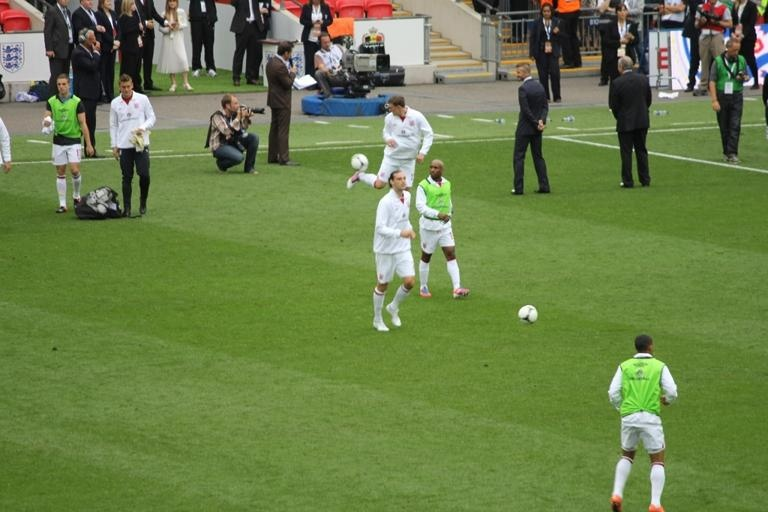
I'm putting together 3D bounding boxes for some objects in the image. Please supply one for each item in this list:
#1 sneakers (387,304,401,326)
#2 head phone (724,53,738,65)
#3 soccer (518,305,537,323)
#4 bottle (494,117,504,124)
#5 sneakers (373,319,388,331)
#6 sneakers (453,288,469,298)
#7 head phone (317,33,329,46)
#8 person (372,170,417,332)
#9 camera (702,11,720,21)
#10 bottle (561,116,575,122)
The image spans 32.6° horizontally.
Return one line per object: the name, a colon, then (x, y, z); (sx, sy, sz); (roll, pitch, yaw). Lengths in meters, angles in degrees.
sneakers: (0.144, 0.919, 20.385); (0.187, 0.411, 0.146); (-6, 21, 31)
head phone: (7.362, -4.173, 27.949); (0.161, 0.127, 0.210); (3, -29, 5)
soccer: (2.109, 0.854, 19.411); (0.269, 0.257, 0.262); (-6, 7, -41)
bottle: (2.939, -3.427, 33.668); (0.291, 0.109, 0.420); (0, 11, 3)
sneakers: (-0.082, 1.070, 20.220); (0.119, 0.172, 0.270); (-2, 1, -34)
sneakers: (1.229, 0.581, 21.377); (0.270, 0.167, 0.264); (0, 11, 5)
head phone: (-1.723, -6.036, 36.802); (0.303, 0.365, 0.375); (-3, 24, -6)
person: (0.103, -0.071, 20.099); (0.635, 2.436, 0.950); (-1, 11, -1)
camera: (8.855, -6.494, 35.845); (0.561, 0.182, 0.253); (9, 8, 12)
bottle: (4.755, -3.506, 33.786); (0.263, 0.091, 0.196); (-2, 7, -45)
